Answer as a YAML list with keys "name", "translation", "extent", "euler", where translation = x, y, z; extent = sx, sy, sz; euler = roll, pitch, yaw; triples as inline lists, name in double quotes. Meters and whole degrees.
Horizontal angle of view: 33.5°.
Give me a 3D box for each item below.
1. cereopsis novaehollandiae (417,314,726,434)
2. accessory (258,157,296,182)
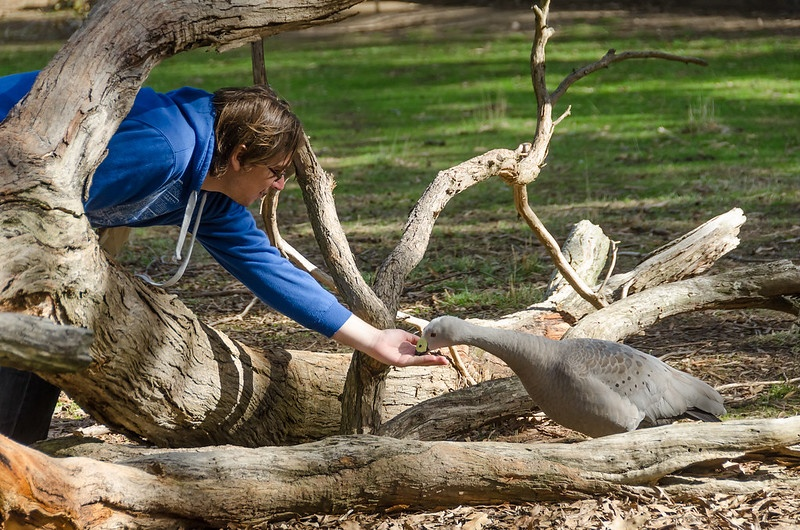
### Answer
- name: "cereopsis novaehollandiae"
  translation: [1.091, 0.751, 8.410]
  extent: [2.001, 0.963, 0.686]
  euler: [-6, 7, -20]
- name: "accessory"
  translation: [-0.739, -0.580, 8.225]
  extent: [0.182, 0.146, 0.136]
  euler: [-27, 6, 44]
